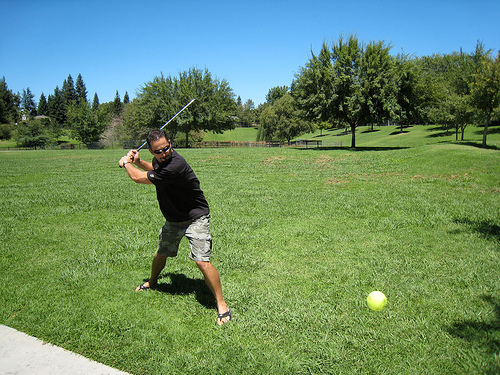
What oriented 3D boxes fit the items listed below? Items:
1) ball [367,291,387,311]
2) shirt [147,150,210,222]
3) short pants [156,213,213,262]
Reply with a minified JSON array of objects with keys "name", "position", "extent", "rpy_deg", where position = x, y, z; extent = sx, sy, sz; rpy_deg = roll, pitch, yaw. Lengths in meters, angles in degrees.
[{"name":"ball","position":[2.079,1.891,6.280],"extent":[0.275,0.295,0.347],"rpy_deg":[13,53,-7]},{"name":"shirt","position":[-1.283,-0.072,6.549],"extent":[0.886,1.218,0.949],"rpy_deg":[-13,23,-29]},{"name":"short pants","position":[-1.154,0.906,6.610],"extent":[0.954,0.836,0.488],"rpy_deg":[-2,-11,21]}]
